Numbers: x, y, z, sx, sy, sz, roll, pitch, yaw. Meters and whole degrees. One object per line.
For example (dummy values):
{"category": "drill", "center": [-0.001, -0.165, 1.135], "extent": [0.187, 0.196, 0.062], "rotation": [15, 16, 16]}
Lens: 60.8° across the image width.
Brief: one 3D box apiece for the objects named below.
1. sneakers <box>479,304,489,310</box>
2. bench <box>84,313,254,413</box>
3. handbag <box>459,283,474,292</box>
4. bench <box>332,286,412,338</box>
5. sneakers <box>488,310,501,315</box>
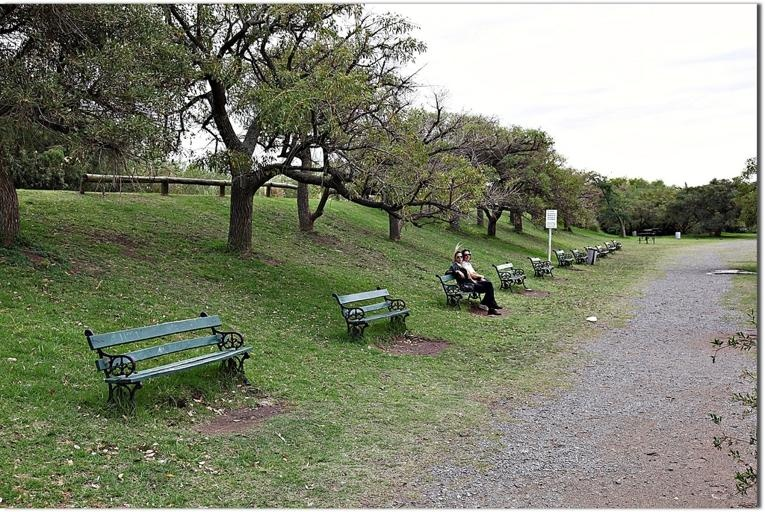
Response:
{"category": "sneakers", "center": [3.346, 1.726, 22.201], "extent": [0.202, 0.197, 0.432], "rotation": [-1, 7, -42]}
{"category": "bench", "center": [-4.224, 2.139, 13.419], "extent": [1.410, 1.430, 3.290], "rotation": [2, 3, 29]}
{"category": "handbag", "center": [2.846, 1.068, 22.433], "extent": [0.445, 0.251, 0.303], "rotation": [3, 5, -7]}
{"category": "bench", "center": [-0.315, 1.606, 18.400], "extent": [1.046, 1.073, 2.291], "rotation": [6, 6, 32]}
{"category": "sneakers", "center": [3.704, 1.865, 21.802], "extent": [0.340, 0.129, 0.177], "rotation": [1, 5, -1]}
